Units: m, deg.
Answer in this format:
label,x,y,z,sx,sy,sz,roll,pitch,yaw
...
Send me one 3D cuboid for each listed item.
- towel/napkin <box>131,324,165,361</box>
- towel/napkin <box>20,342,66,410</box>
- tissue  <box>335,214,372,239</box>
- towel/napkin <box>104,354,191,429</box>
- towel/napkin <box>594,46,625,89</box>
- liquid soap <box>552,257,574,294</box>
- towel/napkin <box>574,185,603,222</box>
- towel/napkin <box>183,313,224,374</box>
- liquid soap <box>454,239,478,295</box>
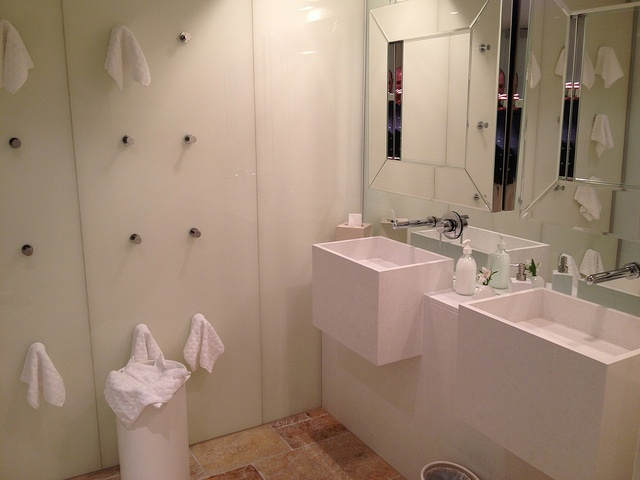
label,x,y,z,sx,sy,sz,roll,pitch,yaw
towel/napkin,-0.945,0.567,2.620,0.125,0.248,0.055,-13,12,-26
towel/napkin,-1.426,0.689,2.491,0.189,0.351,0.045,-5,10,-19
tissue ,0.211,-0.088,2.986,0.207,0.150,0.219,1,10,13
towel/napkin,-0.868,0.724,2.425,0.319,0.148,0.339,16,17,42
towel/napkin,1.088,-0.649,1.822,0.092,0.151,0.018,5,12,33
liquid soap,1.053,0.156,2.098,0.094,0.162,0.097,-1,6,-7
towel/napkin,1.062,-0.147,1.925,0.045,0.121,0.096,-5,9,28
towel/napkin,-0.665,0.587,2.752,0.231,0.322,0.069,-9,8,-37
liquid soap,0.712,0.125,2.374,0.112,0.255,0.170,1,10,17
